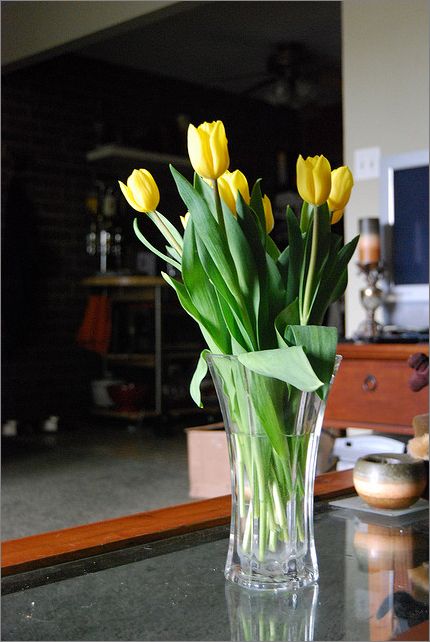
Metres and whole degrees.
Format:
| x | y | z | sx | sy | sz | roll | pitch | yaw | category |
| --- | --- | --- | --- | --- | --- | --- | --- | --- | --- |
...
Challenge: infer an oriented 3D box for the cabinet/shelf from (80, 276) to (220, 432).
| x | y | z | sx | sy | sz | roll | pitch | yaw | category |
| --- | --- | --- | --- | --- | --- | --- | --- | --- | --- |
| -0.254 | 0.135 | 4.060 | 0.909 | 1.418 | 0.862 | 0 | -5 | 3 | cabinet/shelf |
